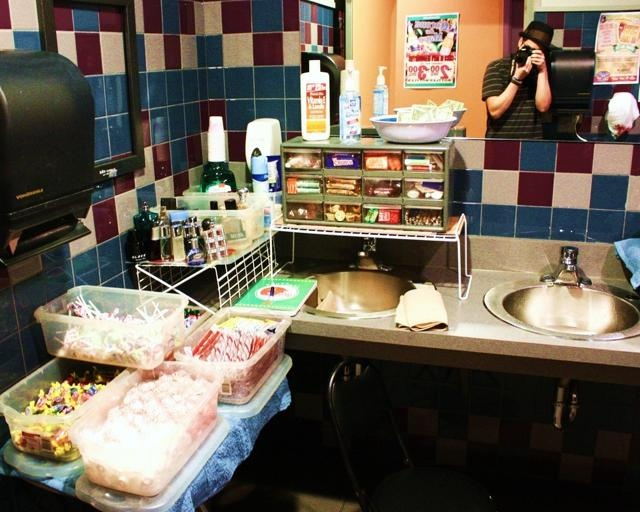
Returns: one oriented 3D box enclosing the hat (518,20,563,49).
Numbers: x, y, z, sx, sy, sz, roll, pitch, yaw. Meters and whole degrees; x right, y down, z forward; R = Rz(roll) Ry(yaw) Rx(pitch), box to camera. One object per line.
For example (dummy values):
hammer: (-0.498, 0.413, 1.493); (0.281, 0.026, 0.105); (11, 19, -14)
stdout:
hat: (0.871, -0.860, 2.055); (0.099, 0.044, 0.116); (23, 10, -16)

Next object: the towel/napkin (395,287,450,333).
towel/napkin: (0.398, 0.207, 2.019); (0.198, 0.089, 0.267); (3, 17, 10)

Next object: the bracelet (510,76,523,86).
bracelet: (0.807, -0.699, 2.128); (0.029, 0.015, 0.038); (11, -4, -32)

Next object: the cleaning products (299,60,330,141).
cleaning products: (-0.016, -0.619, 2.171); (0.112, 0.324, 0.118); (2, 12, 12)

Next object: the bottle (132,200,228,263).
bottle: (-0.537, -0.075, 1.987); (0.350, 0.203, 0.198); (8, 18, 24)

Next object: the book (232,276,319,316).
book: (-0.184, 0.175, 2.140); (0.219, 0.066, 0.224); (10, 17, 19)

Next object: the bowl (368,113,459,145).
bowl: (0.366, -0.480, 2.057); (0.319, 0.099, 0.174); (2, 17, 6)

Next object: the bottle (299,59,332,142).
bottle: (-0.011, -0.624, 2.169); (0.105, 0.322, 0.120); (2, 12, 13)

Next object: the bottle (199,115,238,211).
bottle: (-0.433, -0.397, 2.328); (0.181, 0.502, 0.175); (4, 24, -2)

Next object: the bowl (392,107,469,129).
bowl: (0.434, -0.543, 2.082); (0.230, 0.049, 0.326); (6, 20, 17)

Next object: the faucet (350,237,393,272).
faucet: (0.246, -0.015, 2.439); (0.190, 0.158, 0.143); (1, 17, 3)
